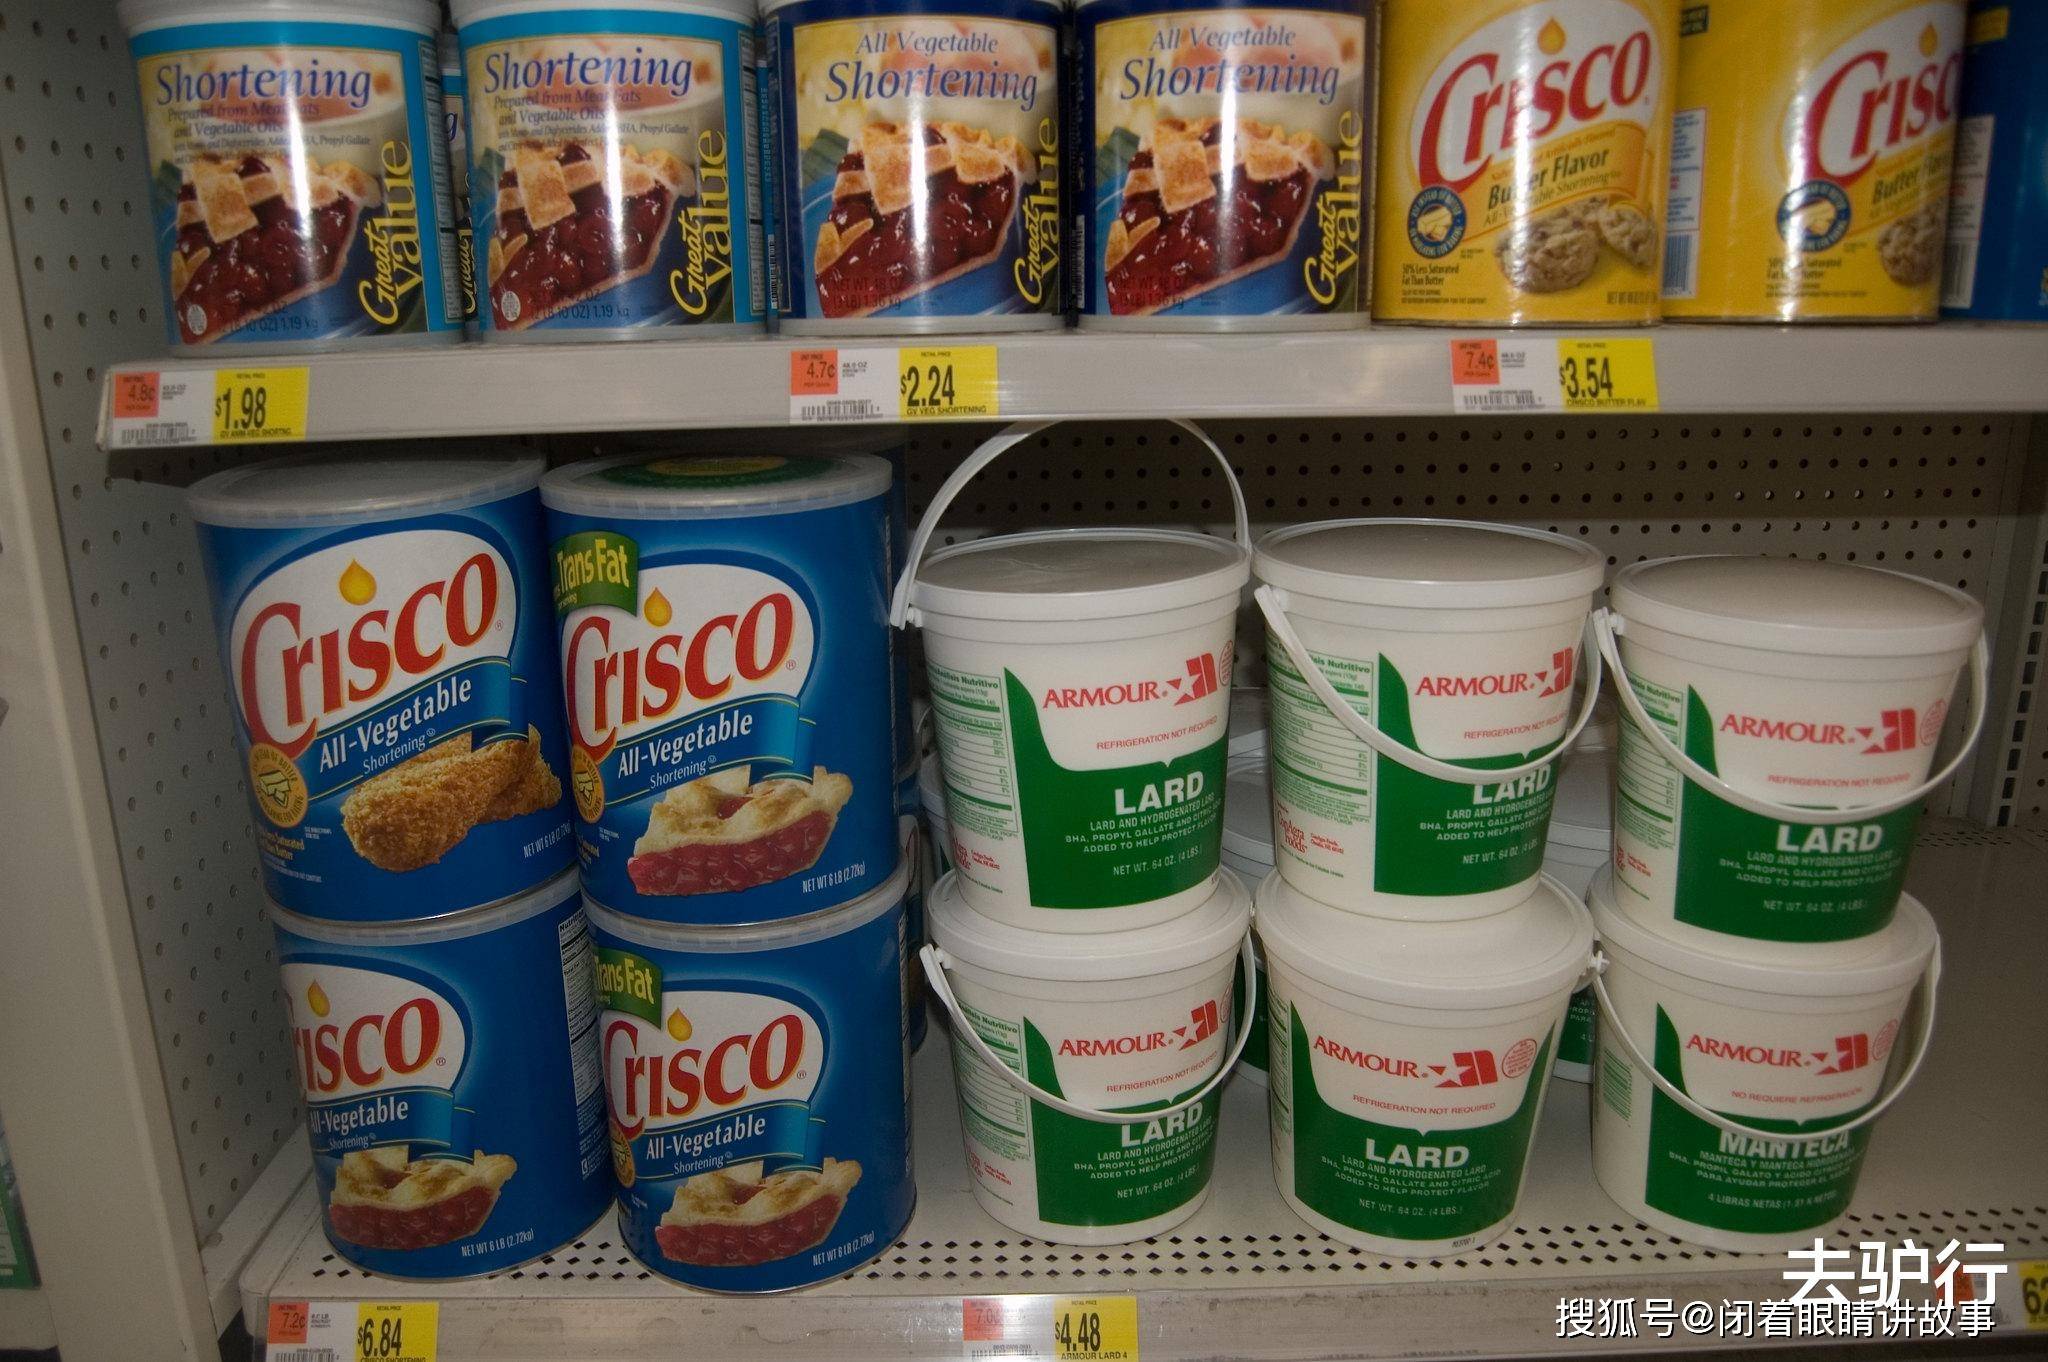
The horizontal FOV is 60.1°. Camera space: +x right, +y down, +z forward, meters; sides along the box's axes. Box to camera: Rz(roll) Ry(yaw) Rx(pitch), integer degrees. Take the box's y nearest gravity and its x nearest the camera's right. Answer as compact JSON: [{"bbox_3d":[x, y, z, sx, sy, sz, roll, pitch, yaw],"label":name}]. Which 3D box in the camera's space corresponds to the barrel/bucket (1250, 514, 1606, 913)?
[{"bbox_3d":[0.441,0.025,2.169,0.452,0.367,0.419,0,14,0],"label":"barrel/bucket"}]

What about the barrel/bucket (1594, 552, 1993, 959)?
[{"bbox_3d":[0.892,0.083,2.108,0.435,0.375,0.418,2,10,0],"label":"barrel/bucket"}]

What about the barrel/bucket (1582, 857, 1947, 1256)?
[{"bbox_3d":[0.867,0.467,2.176,0.415,0.353,0.386,3,8,0],"label":"barrel/bucket"}]

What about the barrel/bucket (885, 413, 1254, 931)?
[{"bbox_3d":[0.068,-0.042,2.101,0.475,0.575,0.381,-3,15,-6],"label":"barrel/bucket"}]

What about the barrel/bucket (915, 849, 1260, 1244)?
[{"bbox_3d":[0.081,0.464,2.204,0.426,0.354,0.409,1,5,0],"label":"barrel/bucket"}]
